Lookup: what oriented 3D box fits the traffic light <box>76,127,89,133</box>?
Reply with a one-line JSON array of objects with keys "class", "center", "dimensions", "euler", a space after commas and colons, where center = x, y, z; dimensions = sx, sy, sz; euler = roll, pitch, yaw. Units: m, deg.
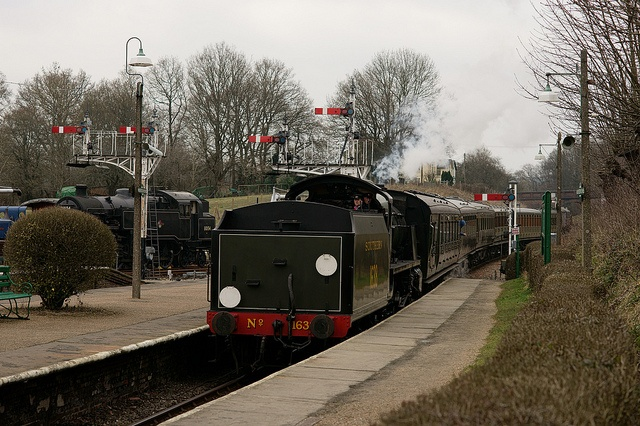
[{"class": "traffic light", "center": [-10.481, -3.739, 29.727], "dimensions": [0.311, 0.318, 0.759], "euler": [0, 0, 11]}]
